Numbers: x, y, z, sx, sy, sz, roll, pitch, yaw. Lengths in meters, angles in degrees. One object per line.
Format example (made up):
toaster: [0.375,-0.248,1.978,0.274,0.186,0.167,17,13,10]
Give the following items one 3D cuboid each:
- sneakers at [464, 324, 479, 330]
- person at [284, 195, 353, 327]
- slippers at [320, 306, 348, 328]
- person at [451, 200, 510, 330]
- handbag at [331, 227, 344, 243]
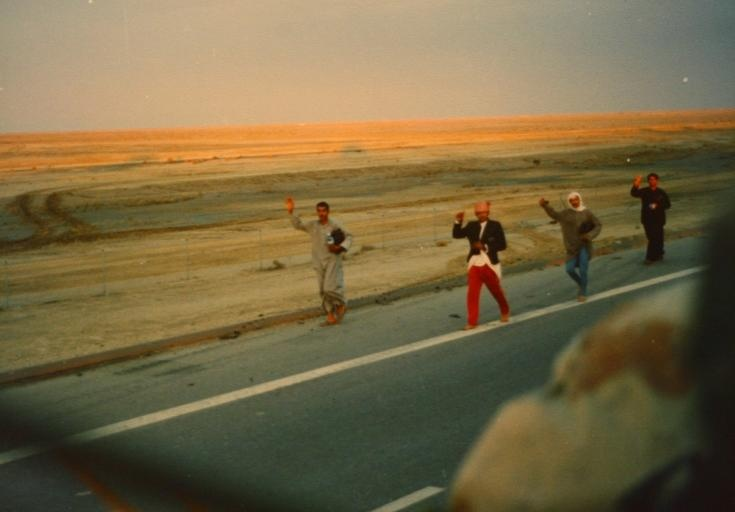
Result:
sneakers: [1.760,1.234,7.988,0.235,0.086,0.089,-3,5,-40]
person: [-0.816,0.115,8.807,0.698,2.262,0.865,-12,13,-35]
slippers: [-0.761,1.138,8.748,0.664,0.393,0.219,-11,13,-12]
person: [1.997,0.153,8.150,0.881,2.147,0.859,-4,11,1]
handbag: [-0.571,-0.377,8.604,0.253,0.280,0.100,-5,11,-3]
